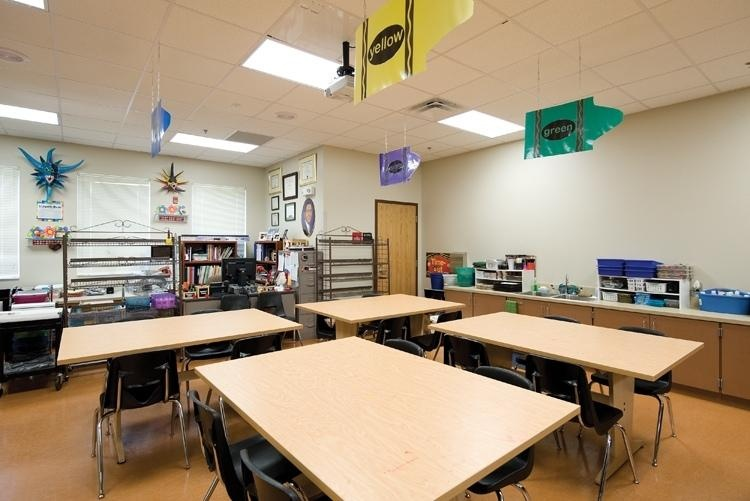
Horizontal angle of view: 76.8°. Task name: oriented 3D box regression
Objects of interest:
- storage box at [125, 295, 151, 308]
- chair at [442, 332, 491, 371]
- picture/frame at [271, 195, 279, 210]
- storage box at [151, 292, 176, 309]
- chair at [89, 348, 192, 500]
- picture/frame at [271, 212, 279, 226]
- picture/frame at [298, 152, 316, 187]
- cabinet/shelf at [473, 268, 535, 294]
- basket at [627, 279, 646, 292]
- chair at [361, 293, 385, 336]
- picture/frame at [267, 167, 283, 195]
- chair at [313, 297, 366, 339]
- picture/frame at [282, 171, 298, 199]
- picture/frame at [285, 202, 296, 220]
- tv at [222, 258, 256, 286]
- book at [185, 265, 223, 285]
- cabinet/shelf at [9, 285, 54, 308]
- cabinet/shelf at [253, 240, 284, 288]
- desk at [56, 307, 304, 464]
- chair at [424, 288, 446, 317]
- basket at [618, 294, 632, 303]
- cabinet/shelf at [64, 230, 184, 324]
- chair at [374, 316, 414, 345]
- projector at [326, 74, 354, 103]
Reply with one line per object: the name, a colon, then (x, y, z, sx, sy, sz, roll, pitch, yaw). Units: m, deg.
storage box: (-3.499, 0.767, 7.004, 0.339, 0.198, 0.078, 0, 0, -28)
chair: (0.979, 1.156, 5.344, 0.435, 0.580, 0.432, -2, 3, -39)
picture/frame: (-2.084, -1.014, 9.929, 0.014, 0.292, 0.342, 2, -3, -38)
storage box: (-3.178, 0.765, 7.137, 0.335, 0.267, 0.218, 0, 0, -27)
chair: (-2.564, 1.743, 5.214, 0.940, 1.575, 1.034, 0, 0, -30)
picture/frame: (-2.087, -0.669, 9.930, 0.023, 0.244, 0.290, 3, -4, -35)
picture/frame: (-1.257, -1.539, 8.926, 0.048, 0.679, 0.686, 4, -5, -41)
cabinet/shelf: (2.198, 0.508, 8.157, 1.054, 0.394, 0.389, 0, 0, 39)
basket: (3.705, 0.488, 6.671, 0.089, 0.152, 0.163, -3, 9, -30)
chair: (-0.057, 0.983, 7.178, 0.518, 0.749, 0.549, 0, -11, 0)
picture/frame: (-2.072, -1.470, 9.902, 0.023, 0.633, 0.639, -2, 2, -36)
chair: (-0.431, 0.882, 6.369, 0.626, 0.375, 0.633, 2, 3, 41)
picture/frame: (-1.667, -1.299, 9.393, 0.042, 0.598, 0.603, -2, 3, -39)
picture/frame: (-1.662, -0.789, 9.371, 0.032, 0.383, 0.385, 2, -3, -39)
tv: (-2.335, 0.366, 8.080, 0.475, 0.394, 0.150, 0, 3, -24)
book: (-3.123, 0.439, 8.645, 0.646, 0.369, 0.321, 0, 0, -32)
cabinet/shelf: (-5.037, 0.695, 6.971, 0.512, 0.336, 0.832, 0, -1, -36)
cabinet/shelf: (-2.015, 0.273, 9.047, 0.358, 1.311, 0.841, 4, -5, -38)
desk: (-2.443, 0.963, 5.446, 2.333, 0.524, 1.503, -5, 12, -40)
chair: (1.174, 0.894, 9.175, 0.279, 0.393, 0.262, -1, 1, -27)
basket: (3.597, 0.686, 6.788, 0.129, 0.095, 0.129, 3, 6, 43)
cabinet/shelf: (-3.909, 0.443, 7.322, 1.472, 1.572, 0.617, 1, -2, -38)
chair: (0.223, 1.010, 6.229, 0.367, 0.472, 0.348, 0, 0, -36)
projector: (-0.333, -1.862, 5.400, 0.277, 0.269, 0.385, 0, 0, -43)
